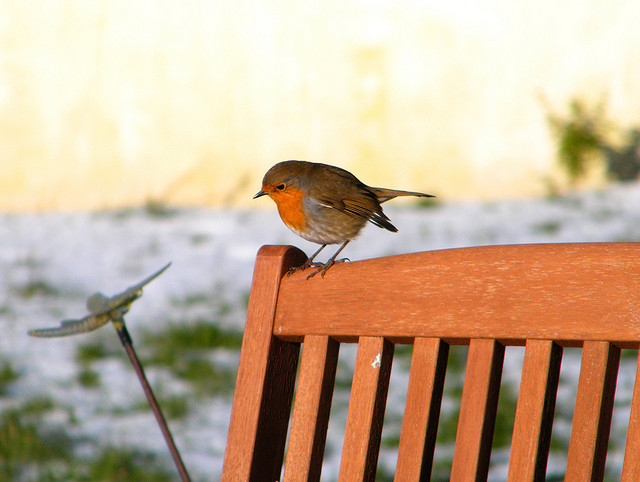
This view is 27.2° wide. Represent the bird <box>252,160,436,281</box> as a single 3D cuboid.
[{"bbox_3d":[0.250,-0.264,10.768,1.468,0.510,0.907,-10,91,-17],"label":"bird"}]
